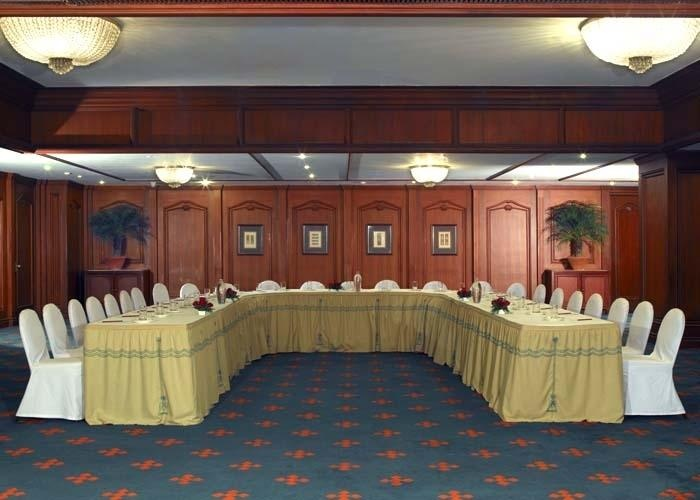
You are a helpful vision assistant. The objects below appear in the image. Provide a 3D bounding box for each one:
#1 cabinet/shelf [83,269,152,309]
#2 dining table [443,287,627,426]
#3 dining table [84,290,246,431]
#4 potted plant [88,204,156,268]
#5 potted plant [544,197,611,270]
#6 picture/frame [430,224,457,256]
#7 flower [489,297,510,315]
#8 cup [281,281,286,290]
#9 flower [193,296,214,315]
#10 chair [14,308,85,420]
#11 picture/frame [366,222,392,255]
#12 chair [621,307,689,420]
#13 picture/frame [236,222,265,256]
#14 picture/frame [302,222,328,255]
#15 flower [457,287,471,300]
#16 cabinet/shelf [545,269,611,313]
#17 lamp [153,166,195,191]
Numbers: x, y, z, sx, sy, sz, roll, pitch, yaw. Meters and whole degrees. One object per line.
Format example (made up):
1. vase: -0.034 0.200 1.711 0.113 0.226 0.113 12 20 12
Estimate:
1. cabinet/shelf: -5.466 1.094 12.204 1.700 1.488 0.694 0 -3 -1
2. dining table: 2.046 0.773 5.446 0.926 0.677 2.259 0 -1 -11
3. dining table: -2.092 1.222 5.631 1.211 1.000 1.136 0 5 1
4. potted plant: -5.446 -0.270 12.511 1.644 1.691 1.495 0 -2 6
5. potted plant: 5.500 -0.380 12.383 1.657 1.747 1.610 3 -6 -38
6. picture/frame: 2.250 -0.264 12.489 0.826 0.918 0.076 0 0 -4
7. flower: 1.748 0.643 5.923 0.194 0.136 0.191 1 -2 9
8. cup: -1.162 0.620 8.901 0.144 0.138 0.261 4 3 -6
9. flower: -1.753 0.664 6.148 0.228 0.155 0.233 0 -10 0
10. chair: -3.065 1.179 5.292 0.671 1.108 0.304 0 6 1
11. picture/frame: 0.687 -0.303 12.403 0.815 0.877 0.075 -1 3 0
12. chair: 3.101 1.151 5.264 0.607 1.089 0.285 -1 6 -9
13. picture/frame: -2.406 -0.284 12.358 0.811 0.896 0.068 0 -2 -3
14. picture/frame: -0.863 -0.312 12.352 0.798 0.889 0.075 0 3 0
15. flower: 1.659 0.630 7.462 0.190 0.129 0.186 2 -6 -19
16. cabinet/shelf: 4.645 0.791 10.364 1.098 0.779 0.404 0 -2 -3
17. lamp: -3.130 -1.338 9.176 0.707 0.342 0.369 0 5 6
